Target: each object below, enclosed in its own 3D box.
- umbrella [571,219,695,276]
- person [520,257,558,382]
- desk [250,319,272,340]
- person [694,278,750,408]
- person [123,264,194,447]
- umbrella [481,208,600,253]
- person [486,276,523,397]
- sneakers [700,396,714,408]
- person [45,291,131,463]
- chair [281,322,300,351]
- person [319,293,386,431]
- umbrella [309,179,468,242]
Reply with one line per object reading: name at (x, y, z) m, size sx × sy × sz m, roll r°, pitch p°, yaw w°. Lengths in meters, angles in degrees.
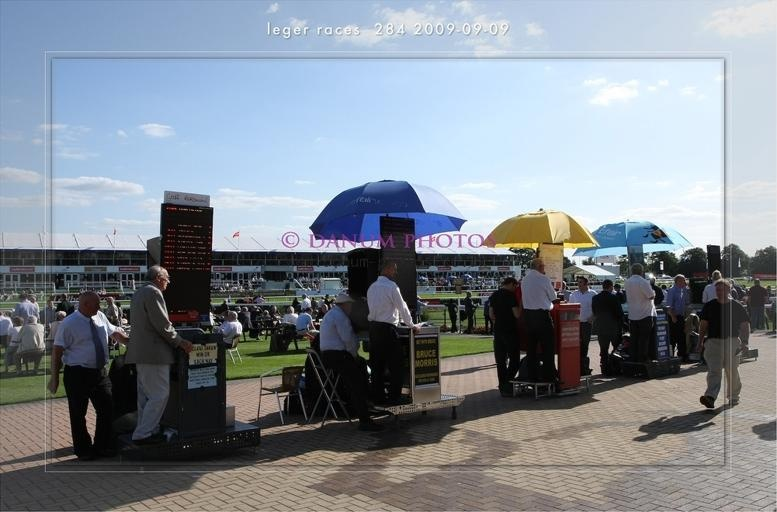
umbrella at (6.769, -0.395, 18.597) m, size 2.168 × 1.172 × 3.612 m, roll -1°, pitch 3°, yaw 2°
person at (3.017, 1.309, 13.576) m, size 0.668 × 2.504 × 0.534 m, roll 0°, pitch 2°, yaw 10°
desk at (-4.842, 2.715, 25.103) m, size 0.793 × 0.280 × 1.208 m, roll 0°, pitch -13°, yaw -9°
person at (6.173, 1.634, 12.276) m, size 0.913 × 2.454 × 0.758 m, roll -2°, pitch 3°, yaw -34°
person at (-3.539, 1.465, 10.185) m, size 0.822 × 2.620 × 0.450 m, roll -1°, pitch 3°, yaw -13°
umbrella at (3.495, -0.634, 15.515) m, size 1.795 × 0.894 × 1.829 m, roll -2°, pitch 3°, yaw -35°
person at (2.423, 1.662, 13.989) m, size 0.625 × 2.442 × 0.421 m, roll 0°, pitch 2°, yaw 10°
sneakers at (5.831, 2.660, 12.267) m, size 0.134 × 0.262 × 0.181 m, roll -31°, pitch -18°, yaw 38°
person at (-4.698, 1.806, 10.256) m, size 0.845 × 2.538 × 0.481 m, roll -2°, pitch 3°, yaw -22°
chair at (-3.268, 2.682, 22.261) m, size 0.554 × 1.008 × 2.372 m, roll -1°, pitch 3°, yaw -8°
person at (-0.728, 1.836, 11.717) m, size 0.971 × 2.278 × 0.846 m, roll -1°, pitch 2°, yaw -8°
umbrella at (-0.080, -0.981, 15.333) m, size 2.441 × 1.388 × 3.358 m, roll -3°, pitch 4°, yaw -42°
